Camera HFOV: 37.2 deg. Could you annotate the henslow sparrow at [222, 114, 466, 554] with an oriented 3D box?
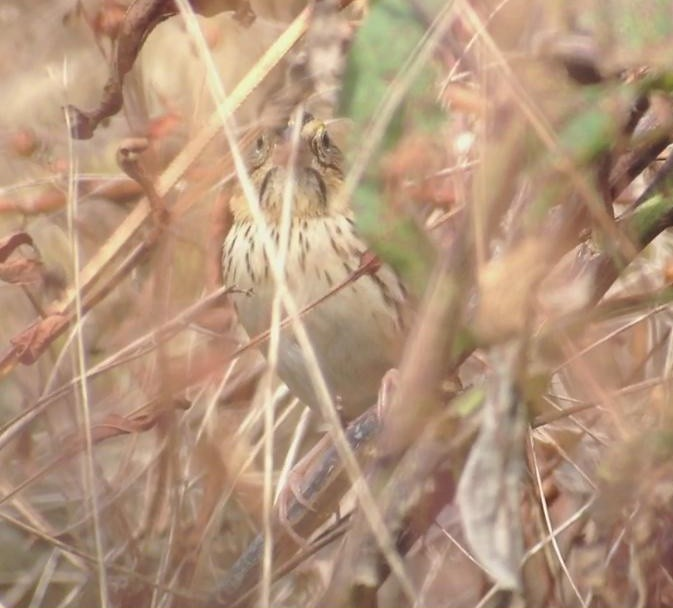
[{"bbox_3d":[-0.036,0.035,1.162,0.209,0.338,0.296,-20,-14,-17],"label":"henslow sparrow"}]
